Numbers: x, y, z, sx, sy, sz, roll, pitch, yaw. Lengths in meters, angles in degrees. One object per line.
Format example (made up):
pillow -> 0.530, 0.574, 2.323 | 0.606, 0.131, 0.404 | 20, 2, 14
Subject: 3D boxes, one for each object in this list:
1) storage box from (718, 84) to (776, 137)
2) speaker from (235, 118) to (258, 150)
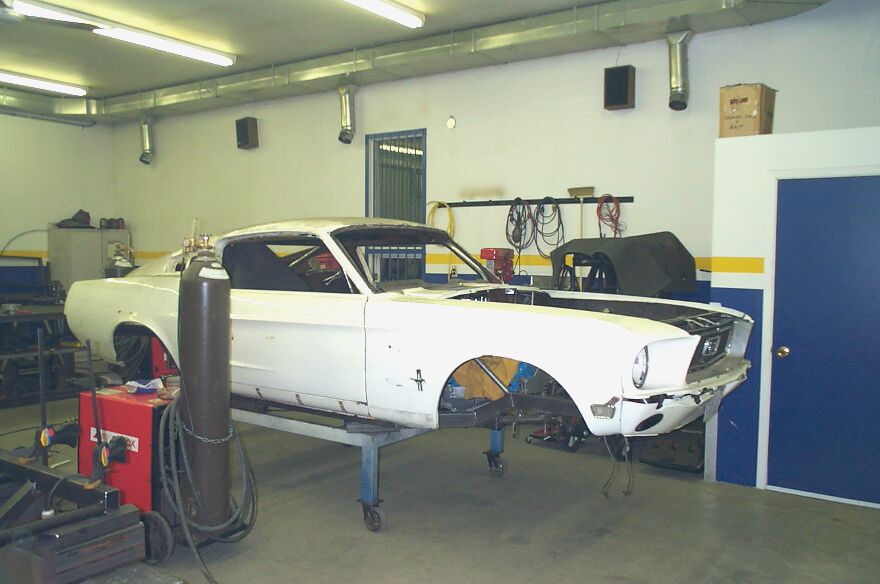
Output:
storage box -> 2.898, -1.622, 6.911 | 0.515, 0.503, 0.523 | 5, 7, 45
speaker -> -3.032, -2.484, 11.516 | 0.473, 0.478, 0.246 | 7, 11, 38
